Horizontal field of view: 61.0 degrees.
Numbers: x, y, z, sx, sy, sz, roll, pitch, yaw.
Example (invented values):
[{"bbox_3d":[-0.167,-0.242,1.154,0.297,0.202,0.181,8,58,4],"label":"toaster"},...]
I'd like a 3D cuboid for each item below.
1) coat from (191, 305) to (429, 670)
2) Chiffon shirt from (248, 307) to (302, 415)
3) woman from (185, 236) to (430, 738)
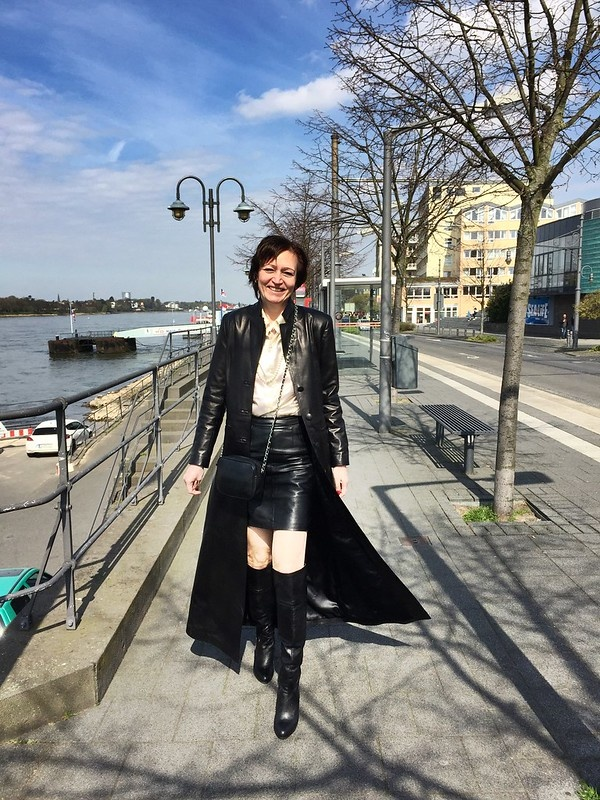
[{"bbox_3d":[0.030,0.344,2.251,0.921,1.539,0.403,0,8,3],"label":"coat"},{"bbox_3d":[-0.127,-0.136,2.002,0.244,0.668,0.060,-7,53,-14],"label":"Chiffon shirt"},{"bbox_3d":[0.039,0.311,2.171,0.950,1.941,0.526,-1,6,1],"label":"woman"}]
